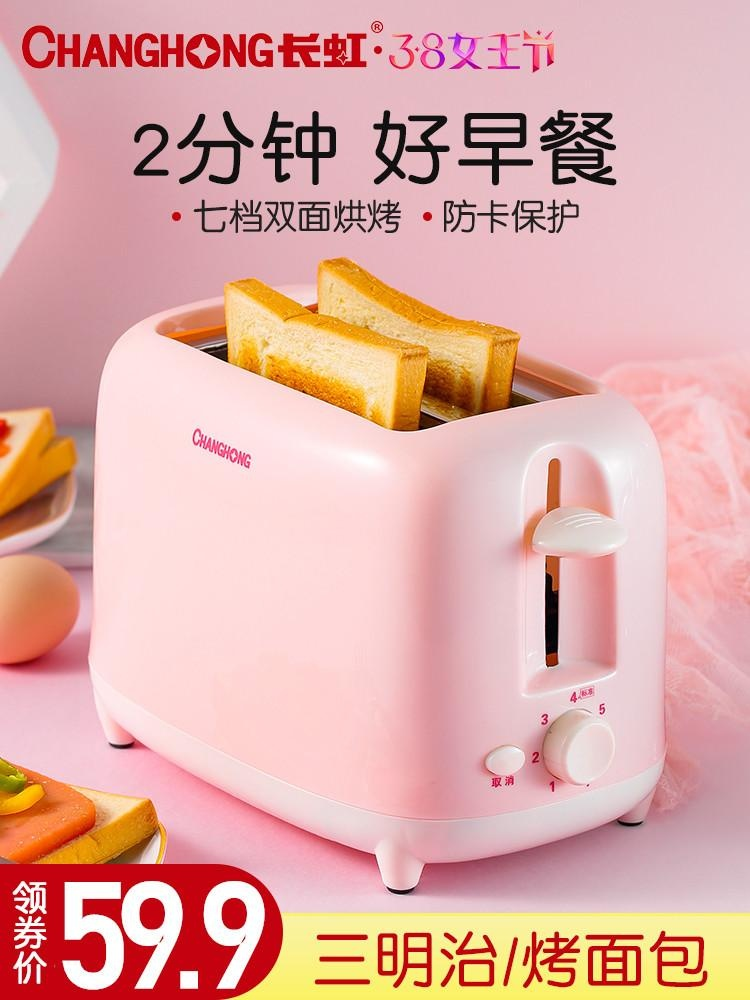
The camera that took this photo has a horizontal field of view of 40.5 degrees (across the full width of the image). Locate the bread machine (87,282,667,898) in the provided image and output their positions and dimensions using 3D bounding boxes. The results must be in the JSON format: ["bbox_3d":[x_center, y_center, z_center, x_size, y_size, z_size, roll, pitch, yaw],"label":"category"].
[{"bbox_3d":[-0.021,0.015,0.565,0.215,0.199,0.344,-15,26,-38],"label":"bread machine"}]
